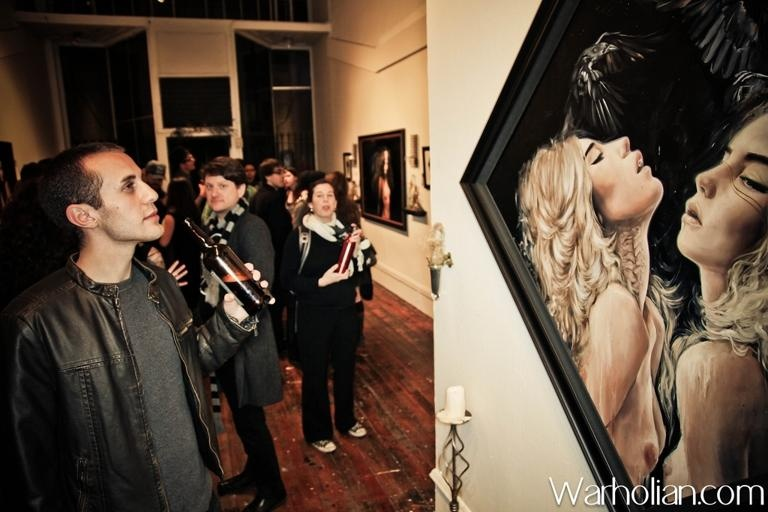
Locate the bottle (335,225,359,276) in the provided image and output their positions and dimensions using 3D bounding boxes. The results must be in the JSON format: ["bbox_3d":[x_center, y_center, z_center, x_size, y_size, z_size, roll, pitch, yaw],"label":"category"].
[{"bbox_3d":[-0.270,-0.048,4.154,0.093,0.079,0.402,-19,33,29],"label":"bottle"}]

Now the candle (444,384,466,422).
[{"bbox_3d":[0.365,0.757,2.954,0.165,0.175,0.160,3,-23,5],"label":"candle"}]
